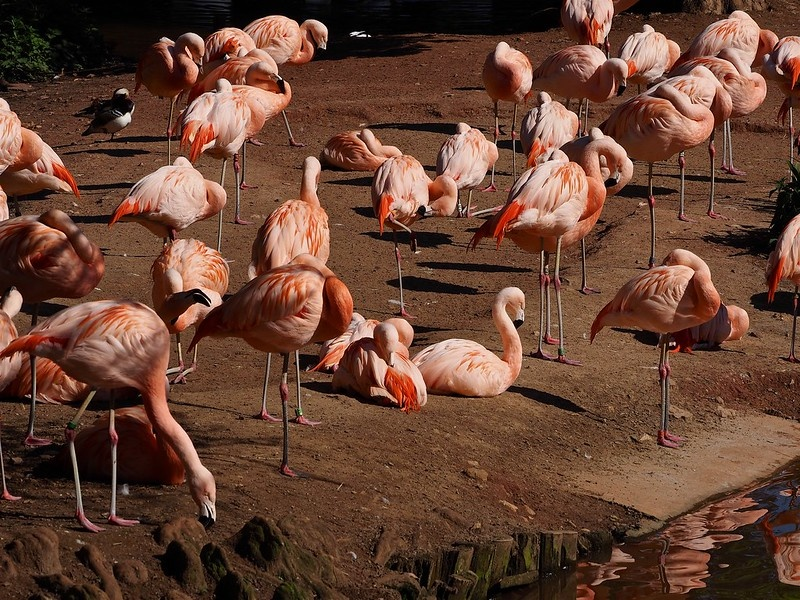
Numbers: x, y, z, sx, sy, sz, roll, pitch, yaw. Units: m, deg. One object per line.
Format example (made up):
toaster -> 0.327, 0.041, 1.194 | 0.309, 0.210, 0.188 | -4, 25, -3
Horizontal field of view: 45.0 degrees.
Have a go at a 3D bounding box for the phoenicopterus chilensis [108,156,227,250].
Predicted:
phoenicopterus chilensis -> -2.148, -0.874, 9.079 | 1.216, 0.899, 0.561 | -4, 8, -39

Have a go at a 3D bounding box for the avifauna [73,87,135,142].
avifauna -> -3.918, -2.473, 12.929 | 0.645, 0.584, 0.500 | 2, 27, 5

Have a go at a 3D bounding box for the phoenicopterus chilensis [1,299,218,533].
phoenicopterus chilensis -> -1.533, 0.608, 5.588 | 1.189, 1.104, 0.628 | 9, 29, 19
